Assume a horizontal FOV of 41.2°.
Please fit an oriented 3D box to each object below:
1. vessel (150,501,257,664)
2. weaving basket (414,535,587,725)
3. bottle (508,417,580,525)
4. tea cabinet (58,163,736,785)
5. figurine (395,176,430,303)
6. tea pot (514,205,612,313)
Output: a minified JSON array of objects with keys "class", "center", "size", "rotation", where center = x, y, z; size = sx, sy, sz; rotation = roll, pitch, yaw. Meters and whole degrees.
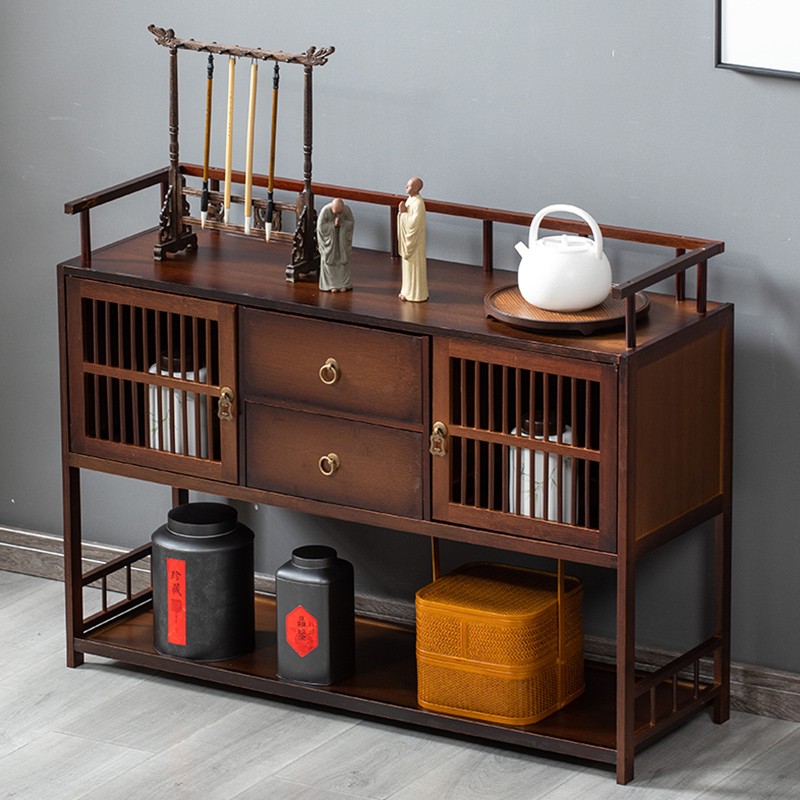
[{"class":"vessel","center":[-0.458,0.407,2.486],"size":[0.230,0.338,0.226],"rotation":[5,17,6]},{"class":"weaving basket","center":[0.193,0.471,2.238],"size":[0.326,0.331,0.248],"rotation":[-1,-1,32]},{"class":"bottle","center":[0.265,0.171,1.962],"size":[0.092,0.148,0.089],"rotation":[8,-28,5]},{"class":"tea cabinet","center":[-0.061,0.084,2.283],"size":[1.423,1.175,0.554],"rotation":[4,8,29]},{"class":"figurine","center":[0.029,-0.312,2.095],"size":[0.060,0.236,0.112],"rotation":[0,7,1]},{"class":"tea pot","center":[0.302,-0.267,1.969],"size":[0.177,0.188,0.174],"rotation":[-2,16,1]}]
